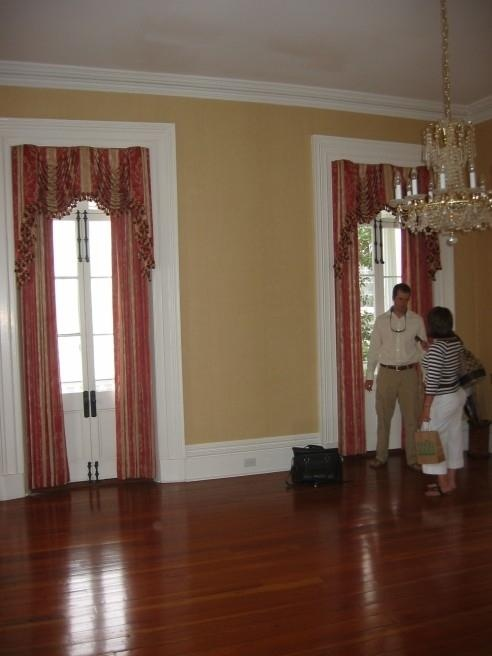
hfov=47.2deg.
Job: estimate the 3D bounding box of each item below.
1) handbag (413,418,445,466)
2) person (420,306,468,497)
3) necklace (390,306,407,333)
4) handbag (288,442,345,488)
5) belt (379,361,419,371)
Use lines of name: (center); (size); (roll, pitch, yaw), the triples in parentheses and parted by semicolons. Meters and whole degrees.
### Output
handbag: (1.395, 0.912, 4.282); (0.175, 0.262, 0.252); (-2, -1, 26)
person: (1.543, 0.578, 4.441); (0.325, 1.258, 0.579); (-2, -1, 17)
necklace: (1.442, -0.081, 5.352); (0.130, 0.246, 0.058); (1, -3, 13)
handbag: (0.608, 1.200, 5.027); (0.335, 0.263, 0.353); (0, -2, 1)
belt: (1.451, 0.373, 5.408); (0.309, 0.058, 0.123); (-2, -1, 0)
